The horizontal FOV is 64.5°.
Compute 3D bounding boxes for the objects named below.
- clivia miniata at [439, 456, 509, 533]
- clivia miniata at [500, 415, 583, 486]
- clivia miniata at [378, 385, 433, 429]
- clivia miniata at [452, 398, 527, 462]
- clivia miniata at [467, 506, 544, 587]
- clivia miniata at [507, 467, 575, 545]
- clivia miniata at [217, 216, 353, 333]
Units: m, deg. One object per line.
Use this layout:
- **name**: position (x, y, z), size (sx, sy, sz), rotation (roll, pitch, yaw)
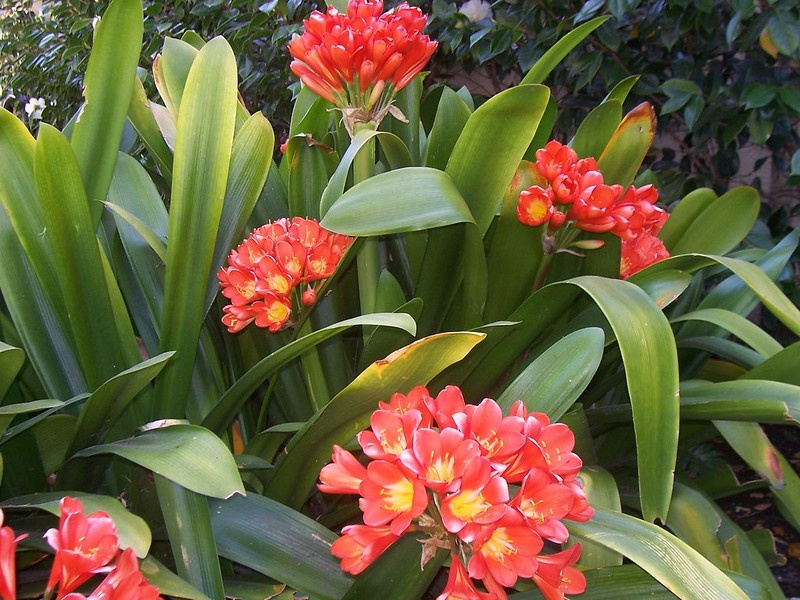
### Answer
- **clivia miniata**: position (0.080, 0.199, 0.675), size (0.072, 0.076, 0.034), rotation (14, -9, -42)
- **clivia miniata**: position (0.163, 0.170, 0.748), size (0.083, 0.051, 0.086), rotation (-1, 40, -19)
- **clivia miniata**: position (0.001, 0.133, 0.739), size (0.057, 0.034, 0.062), rotation (-6, 13, -44)
- **clivia miniata**: position (0.103, 0.155, 0.724), size (0.069, 0.035, 0.067), rotation (14, 35, -22)
- **clivia miniata**: position (0.110, 0.264, 0.666), size (0.082, 0.087, 0.043), rotation (-12, 18, -18)
- **clivia miniata**: position (0.153, 0.220, 0.686), size (0.068, 0.039, 0.083), rotation (15, 68, -17)
- **clivia miniata**: position (-0.178, -0.041, 0.966), size (0.191, 0.182, 0.146), rotation (13, 30, -5)
